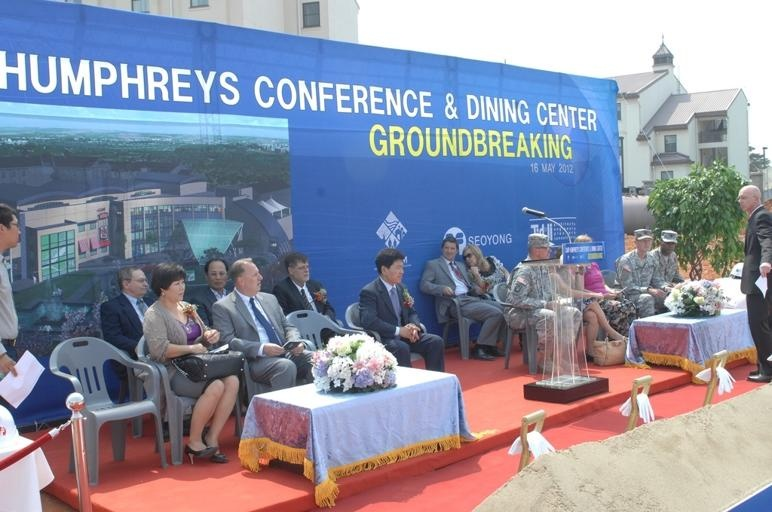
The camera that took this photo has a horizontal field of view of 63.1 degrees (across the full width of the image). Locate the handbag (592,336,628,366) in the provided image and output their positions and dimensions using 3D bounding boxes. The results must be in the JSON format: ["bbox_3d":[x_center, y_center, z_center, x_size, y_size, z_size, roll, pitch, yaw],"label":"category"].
[{"bbox_3d":[3.272,1.403,9.182,0.396,0.338,0.156,1,6,-21],"label":"handbag"}]

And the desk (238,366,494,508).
[{"bbox_3d":[-0.110,1.534,5.885,1.655,0.601,1.038,1,-4,-45],"label":"desk"}]

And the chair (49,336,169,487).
[{"bbox_3d":[-2.690,1.455,6.073,1.009,1.266,0.998,-1,-1,-36],"label":"chair"}]

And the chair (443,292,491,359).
[{"bbox_3d":[1.112,1.105,10.027,0.906,1.153,0.824,0,-4,-44],"label":"chair"}]

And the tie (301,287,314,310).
[{"bbox_3d":[-1.027,0.549,8.326,0.068,0.293,0.175,-21,-10,32],"label":"tie"}]

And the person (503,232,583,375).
[{"bbox_3d":[2.160,0.594,8.692,0.788,1.776,0.968,-8,12,-42],"label":"person"}]

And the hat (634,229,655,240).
[{"bbox_3d":[4.048,-0.338,10.006,0.274,0.139,0.384,3,3,4],"label":"hat"}]

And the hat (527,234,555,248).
[{"bbox_3d":[2.152,-0.212,8.737,0.348,0.176,0.260,-1,3,7],"label":"hat"}]

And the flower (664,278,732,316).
[{"bbox_3d":[4.475,0.627,9.036,0.562,0.447,0.645,-6,-3,6],"label":"flower"}]

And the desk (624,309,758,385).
[{"bbox_3d":[4.595,1.264,9.357,1.738,0.772,1.270,-6,1,-32],"label":"desk"}]

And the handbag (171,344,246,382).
[{"bbox_3d":[-1.709,1.049,6.414,0.498,0.266,0.678,-8,7,-35],"label":"handbag"}]

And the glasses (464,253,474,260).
[{"bbox_3d":[1.386,0.001,10.447,0.125,0.045,0.117,20,-18,-38],"label":"glasses"}]

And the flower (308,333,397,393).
[{"bbox_3d":[-0.284,0.939,5.879,0.435,0.326,0.471,2,9,-27],"label":"flower"}]

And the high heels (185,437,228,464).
[{"bbox_3d":[-1.740,1.882,6.076,0.348,0.155,0.197,-7,-10,7],"label":"high heels"}]

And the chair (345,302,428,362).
[{"bbox_3d":[-0.070,1.012,8.525,0.859,1.159,0.804,-3,-1,39],"label":"chair"}]
